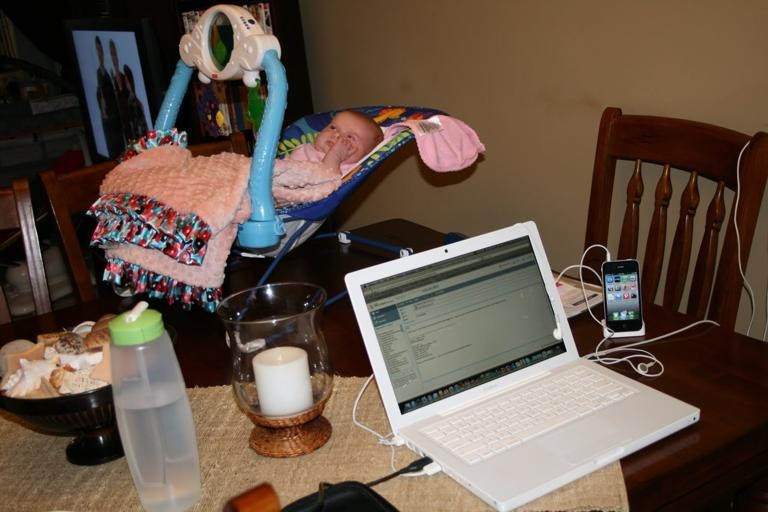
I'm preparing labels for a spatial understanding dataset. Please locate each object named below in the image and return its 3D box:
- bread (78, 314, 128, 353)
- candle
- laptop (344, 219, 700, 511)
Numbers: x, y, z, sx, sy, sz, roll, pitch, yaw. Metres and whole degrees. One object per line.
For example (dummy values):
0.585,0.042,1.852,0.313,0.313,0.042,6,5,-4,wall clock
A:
-0.512,0.144,1.031,0.063,0.015,0.059,-45,14,-21,bread
-0.178,0.229,1.066,0.107,0.124,0.111,-14,23,-20,candle
0.225,0.221,1.075,0.537,0.339,0.516,-19,26,-29,laptop
